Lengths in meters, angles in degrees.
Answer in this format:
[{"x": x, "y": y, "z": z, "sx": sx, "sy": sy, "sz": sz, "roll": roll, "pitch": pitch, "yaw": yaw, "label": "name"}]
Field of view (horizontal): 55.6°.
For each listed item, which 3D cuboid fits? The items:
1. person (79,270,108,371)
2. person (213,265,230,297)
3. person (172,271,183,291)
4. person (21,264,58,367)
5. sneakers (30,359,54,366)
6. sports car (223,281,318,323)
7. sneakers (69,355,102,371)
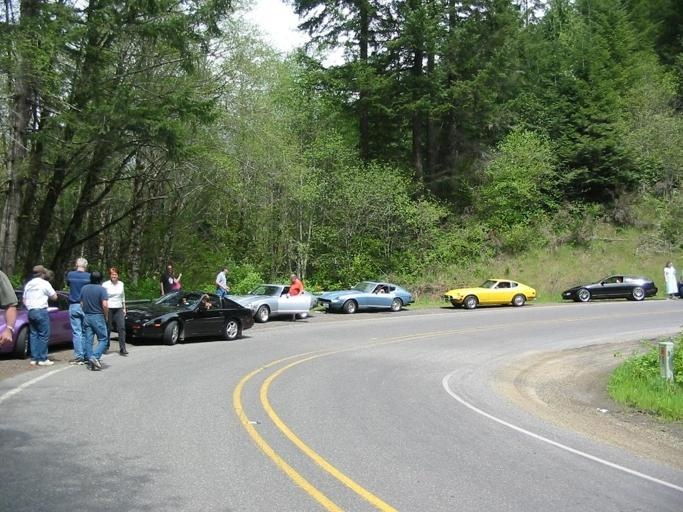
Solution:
[{"x": -5.911, "y": 1.493, "z": 15.499, "sx": 0.602, "sy": 2.241, "sz": 1.102, "roll": 0, "pitch": 4, "yaw": -22, "label": "person"}, {"x": -5.711, "y": 1.197, "z": 30.669, "sx": 0.504, "sy": 1.974, "sz": 0.671, "roll": -4, "pitch": 20, "yaw": -16, "label": "person"}, {"x": -7.630, "y": 1.139, "z": 29.994, "sx": 0.461, "sy": 0.893, "sz": 0.827, "roll": 4, "pitch": 3, "yaw": 0, "label": "person"}, {"x": -7.321, "y": 1.415, "z": 15.688, "sx": 0.670, "sy": 2.382, "sz": 1.038, "roll": 0, "pitch": 4, "yaw": -27, "label": "person"}, {"x": -7.168, "y": 2.554, "z": 15.497, "sx": 0.406, "sy": 0.179, "sz": 0.218, "roll": 1, "pitch": 2, "yaw": -19, "label": "sneakers"}, {"x": -2.653, "y": 1.856, "z": 26.090, "sx": 1.486, "sy": 1.065, "sz": 2.915, "roll": -3, "pitch": -5, "yaw": 44, "label": "sports car"}, {"x": -6.060, "y": 2.535, "z": 15.353, "sx": 0.406, "sy": 0.203, "sz": 0.144, "roll": 21, "pitch": -10, "yaw": 14, "label": "sneakers"}]
